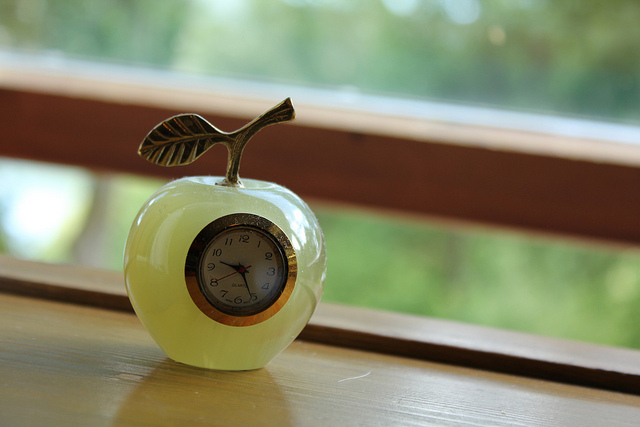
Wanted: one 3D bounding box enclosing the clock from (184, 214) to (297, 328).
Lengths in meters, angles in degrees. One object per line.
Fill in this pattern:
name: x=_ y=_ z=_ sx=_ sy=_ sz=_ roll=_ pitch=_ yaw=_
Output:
clock: x=-0.134 y=0.098 z=1.147 sx=0.186 sy=0.164 sz=0.097 roll=3 pitch=34 yaw=-11
